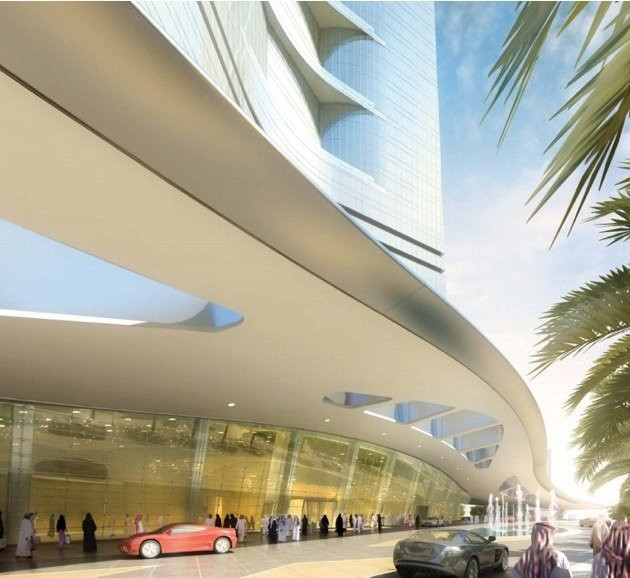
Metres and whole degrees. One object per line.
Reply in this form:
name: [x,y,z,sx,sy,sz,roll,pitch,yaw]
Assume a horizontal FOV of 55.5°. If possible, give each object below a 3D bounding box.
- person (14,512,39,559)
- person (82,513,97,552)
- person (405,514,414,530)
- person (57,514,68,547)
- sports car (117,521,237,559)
person: [-7.872,6.750,16.356,0.438,1.014,1.535,8,-17,-23]
person: [-6.539,7.091,17.450,0.433,0.978,1.241,6,-17,-18]
person: [6.344,15.148,38.986,0.318,0.829,0.886,-7,-13,39]
person: [-8.039,7.692,19.004,0.400,0.941,1.872,7,-17,-20]
sports car: [-3.769,6.957,16.505,2.477,0.730,1.383,15,-32,-25]
